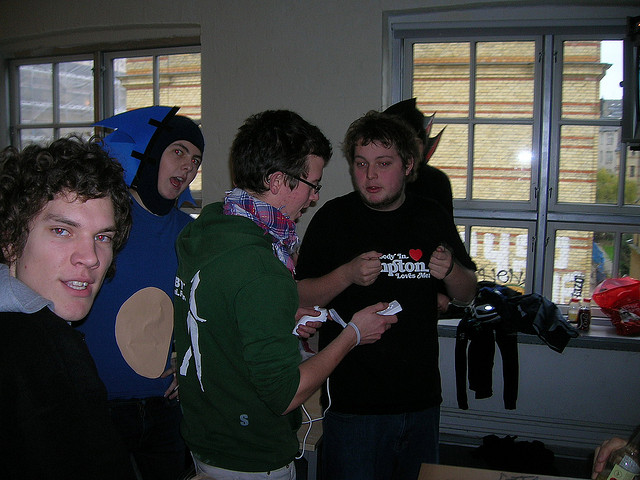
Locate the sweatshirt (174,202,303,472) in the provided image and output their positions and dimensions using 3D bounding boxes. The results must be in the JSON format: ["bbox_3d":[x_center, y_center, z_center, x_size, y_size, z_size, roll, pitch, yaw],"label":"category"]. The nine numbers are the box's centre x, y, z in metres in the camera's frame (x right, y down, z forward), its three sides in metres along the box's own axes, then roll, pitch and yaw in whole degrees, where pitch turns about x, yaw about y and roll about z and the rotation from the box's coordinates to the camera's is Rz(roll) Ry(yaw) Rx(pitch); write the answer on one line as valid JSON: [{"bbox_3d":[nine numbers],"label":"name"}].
[{"bbox_3d":[-0.312,0.378,2.071,0.481,0.988,0.299,0,2,-5],"label":"sweatshirt"}]

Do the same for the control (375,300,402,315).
[{"bbox_3d":[0.284,0.284,2.295,0.119,0.051,0.046,-1,2,-31],"label":"control"}]

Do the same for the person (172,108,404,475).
[{"bbox_3d":[-0.163,0.210,2.172,0.699,1.431,0.431,-1,2,-29],"label":"person"}]

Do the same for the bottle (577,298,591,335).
[{"bbox_3d":[1.751,0.503,3.711,0.075,0.204,0.294,1,2,26],"label":"bottle"}]
